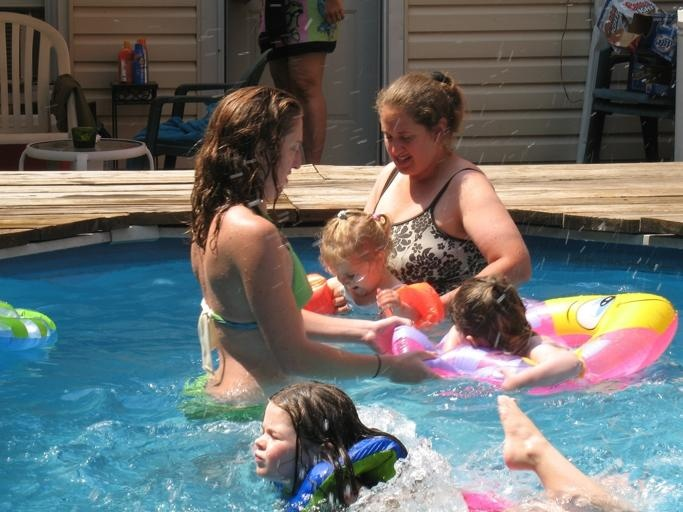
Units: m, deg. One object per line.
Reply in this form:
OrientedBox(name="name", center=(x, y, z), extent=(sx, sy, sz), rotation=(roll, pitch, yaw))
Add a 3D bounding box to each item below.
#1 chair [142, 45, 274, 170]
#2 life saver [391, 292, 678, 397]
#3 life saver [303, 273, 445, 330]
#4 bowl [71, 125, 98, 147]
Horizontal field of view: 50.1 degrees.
OrientedBox(name="chair", center=(-1.223, -1.440, 7.122), extent=(1.338, 1.640, 1.151), rotation=(5, 23, -3))
OrientedBox(name="life saver", center=(1.039, 0.405, 3.435), extent=(0.807, 0.181, 0.703), rotation=(-7, 5, -12))
OrientedBox(name="life saver", center=(0.066, 0.181, 3.895), extent=(0.588, 0.292, 0.774), rotation=(9, 14, 43))
OrientedBox(name="bowl", center=(-2.061, -0.965, 5.888), extent=(0.196, 0.129, 0.170), rotation=(0, 10, -4))
